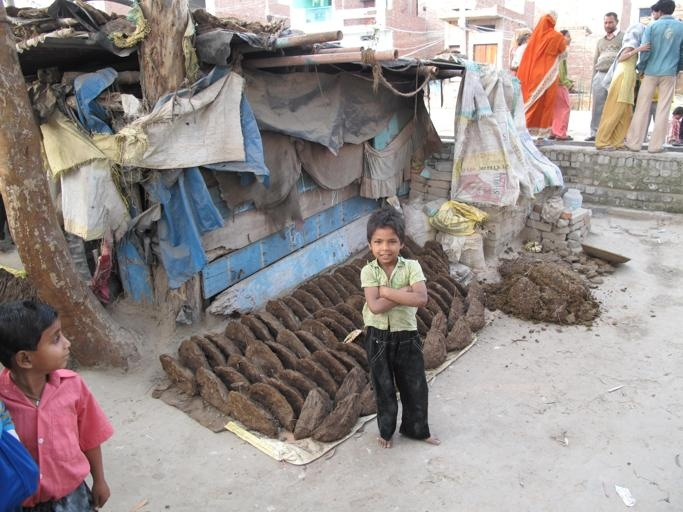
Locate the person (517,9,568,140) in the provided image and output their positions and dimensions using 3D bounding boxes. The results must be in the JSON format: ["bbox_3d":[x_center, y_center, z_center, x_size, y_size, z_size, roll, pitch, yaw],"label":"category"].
[{"bbox_3d":[3.781,-3.393,10.719,0.828,2.265,0.603,5,22,13],"label":"person"}]

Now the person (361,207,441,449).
[{"bbox_3d":[0.518,0.667,5.058,0.667,2.142,0.522,-1,21,-1],"label":"person"}]
